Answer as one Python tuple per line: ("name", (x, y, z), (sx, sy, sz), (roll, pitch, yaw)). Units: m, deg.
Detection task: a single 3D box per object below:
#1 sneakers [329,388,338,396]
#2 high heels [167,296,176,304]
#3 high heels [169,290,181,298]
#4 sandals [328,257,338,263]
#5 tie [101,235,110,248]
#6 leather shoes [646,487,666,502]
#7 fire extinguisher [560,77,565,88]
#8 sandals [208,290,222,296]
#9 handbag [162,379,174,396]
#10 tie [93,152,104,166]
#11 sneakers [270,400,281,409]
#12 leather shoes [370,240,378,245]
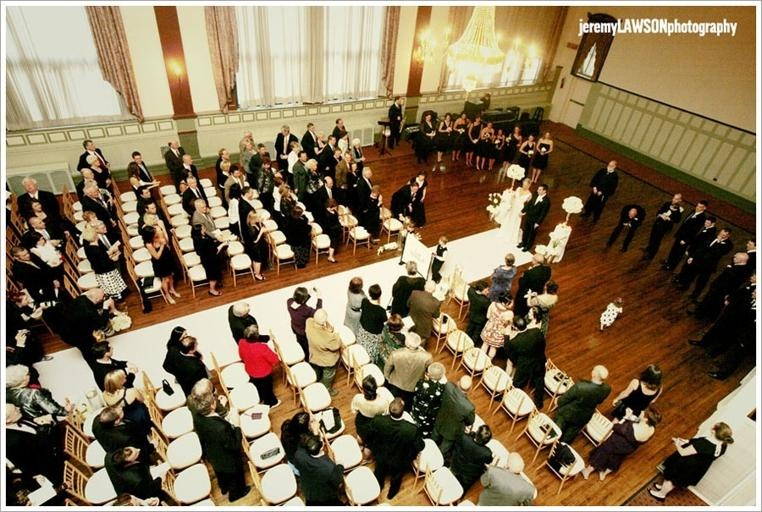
("sneakers", (-0.923, 2.644, 9.578), (0.126, 0.127, 0.147), (16, 34, 27))
("high heels", (-4.594, 0.971, 10.867), (0.216, 0.086, 0.087), (35, 44, 14))
("high heels", (-4.564, 0.851, 10.990), (0.295, 0.118, 0.098), (26, 55, 10))
("sandals", (-1.180, 0.103, 12.153), (0.249, 0.097, 0.085), (26, 43, 23))
("tie", (-5.696, -0.277, 10.219), (0.024, 0.075, 0.281), (6, 28, -47))
("leather shoes", (4.980, 4.287, 8.937), (0.323, 0.134, 0.128), (27, 63, 23))
("fire extinguisher", (7.244, -6.858, 19.763), (0.039, 0.391, 0.250), (-19, 35, -28))
("sandals", (-3.722, 0.833, 11.108), (0.224, 0.061, 0.119), (17, 40, 12))
("handbag", (-3.853, 2.385, 8.958), (0.173, 0.098, 0.307), (-25, 82, -26))
("tie", (-6.781, -2.298, 11.855), (0.059, 0.149, 0.550), (-33, 51, -16))
("sneakers", (-2.003, 2.781, 9.348), (0.240, 0.100, 0.088), (-26, 80, -21))
("leather shoes", (-0.175, -0.339, 12.818), (0.131, 0.175, 0.090), (6, 74, -9))
